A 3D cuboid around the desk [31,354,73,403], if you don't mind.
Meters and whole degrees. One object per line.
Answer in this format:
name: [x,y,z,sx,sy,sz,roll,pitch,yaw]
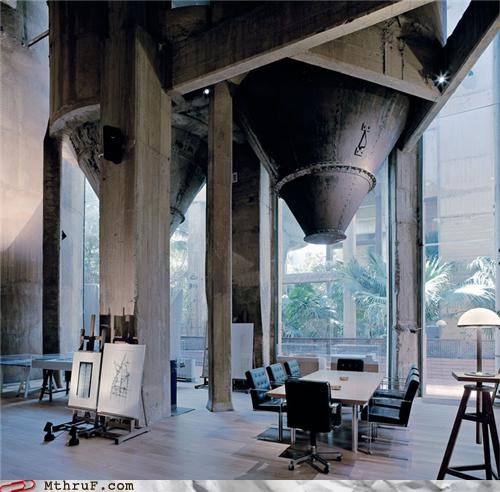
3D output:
desk: [-3.756,2.522,9.195,0.505,0.874,1.080,-1,-7,9]
